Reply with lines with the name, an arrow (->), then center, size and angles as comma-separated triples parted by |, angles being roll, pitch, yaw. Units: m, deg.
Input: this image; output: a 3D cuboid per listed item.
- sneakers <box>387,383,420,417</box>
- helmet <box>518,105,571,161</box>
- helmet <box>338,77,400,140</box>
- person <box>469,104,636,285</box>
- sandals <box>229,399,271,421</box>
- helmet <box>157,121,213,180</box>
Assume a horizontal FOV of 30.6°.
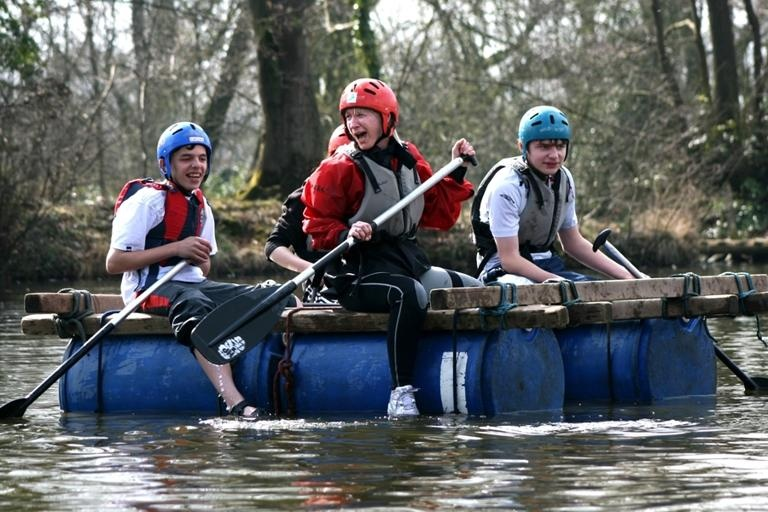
sneakers -> 0.147, 1.279, 12.406 | 0.269, 0.280, 0.140 | -2, -3, 0
helmet -> 1.459, -1.181, 13.395 | 0.404, 0.511, 0.543 | 3, -14, -4
helmet -> -0.222, -1.351, 12.993 | 0.586, 0.549, 0.461 | -12, 8, -31
person -> 1.401, -0.565, 13.203 | 1.163, 1.657, 0.792 | -1, -3, -4
sandals -> -1.142, 1.397, 12.492 | 0.428, 0.170, 0.140 | 15, -8, 11
helmet -> -1.886, -0.953, 13.214 | 0.425, 0.492, 0.572 | 6, -19, -27
